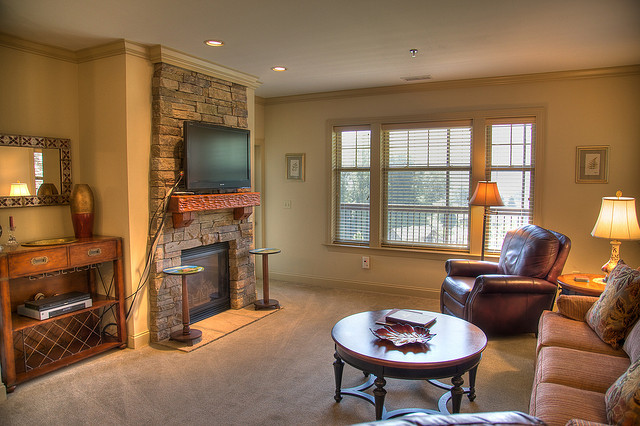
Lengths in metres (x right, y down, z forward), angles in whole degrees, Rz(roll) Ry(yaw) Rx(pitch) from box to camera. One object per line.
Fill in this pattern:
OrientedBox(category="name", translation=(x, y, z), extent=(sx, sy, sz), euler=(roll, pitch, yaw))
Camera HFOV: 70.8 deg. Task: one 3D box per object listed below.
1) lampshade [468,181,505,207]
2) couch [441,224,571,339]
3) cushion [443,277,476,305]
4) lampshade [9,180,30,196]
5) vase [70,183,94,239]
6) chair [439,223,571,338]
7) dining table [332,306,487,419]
OrientedBox(category="lampshade", translation=(2.140, -0.239, 5.795), extent=(0.353, 0.219, 0.340), euler=(-1, -1, 28))
OrientedBox(category="couch", translation=(2.281, 0.844, 5.882), extent=(1.448, 1.602, 1.417), euler=(1, -2, -1))
OrientedBox(category="cushion", translation=(1.687, 0.930, 5.425), extent=(0.277, 0.112, 0.285), euler=(-1, 4, -13))
OrientedBox(category="lampshade", translation=(-3.273, -0.269, 4.851), extent=(0.151, 0.140, 0.147), euler=(-5, 7, -37))
OrientedBox(category="vase", translation=(-2.678, -0.022, 5.041), extent=(0.227, 0.587, 0.223), euler=(-8, 17, -29))
OrientedBox(category="chair", translation=(2.285, 0.821, 5.868), extent=(1.433, 1.560, 1.402), euler=(2, -3, -5))
OrientedBox(category="dining table", translation=(0.884, 1.318, 4.107), extent=(1.066, 0.526, 1.057), euler=(2, 3, 39))
